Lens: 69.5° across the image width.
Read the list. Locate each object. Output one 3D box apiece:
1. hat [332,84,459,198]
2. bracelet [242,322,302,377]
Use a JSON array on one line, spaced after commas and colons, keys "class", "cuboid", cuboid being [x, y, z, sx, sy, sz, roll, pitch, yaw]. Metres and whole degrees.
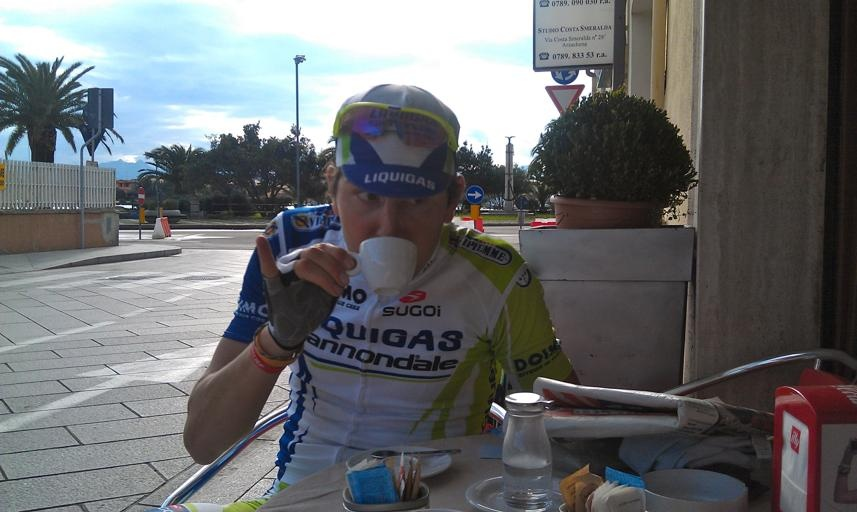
[{"class": "hat", "cuboid": [-0.160, -0.488, 2.929, 0.502, 0.373, 0.692, 7, 12, -6]}, {"class": "bracelet", "cuboid": [-0.651, 0.415, 2.515, 0.168, 0.208, 0.115, 24, 19, -16]}]
